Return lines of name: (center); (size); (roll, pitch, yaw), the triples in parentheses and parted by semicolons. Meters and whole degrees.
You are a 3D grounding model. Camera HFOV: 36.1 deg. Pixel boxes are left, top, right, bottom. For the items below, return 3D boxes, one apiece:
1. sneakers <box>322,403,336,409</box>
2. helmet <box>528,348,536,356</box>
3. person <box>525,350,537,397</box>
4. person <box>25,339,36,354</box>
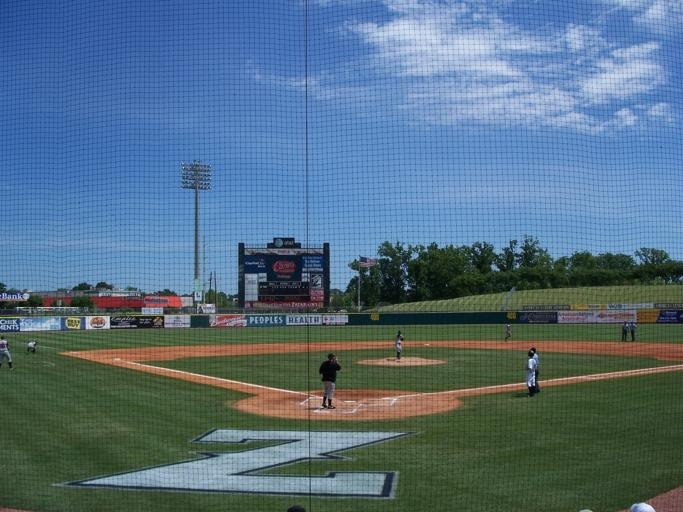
sneakers: (-0.417, 4.988, 34.875); (0.458, 0.200, 0.152); (0, -3, -3)
helmet: (6.677, 3.361, 36.709); (0.231, 0.182, 0.441); (4, 0, 7)
person: (6.673, 4.054, 36.636); (0.329, 1.446, 0.720); (0, 0, 10)
person: (-14.944, 4.363, 49.976); (0.511, 0.710, 0.723); (1, 2, -14)
